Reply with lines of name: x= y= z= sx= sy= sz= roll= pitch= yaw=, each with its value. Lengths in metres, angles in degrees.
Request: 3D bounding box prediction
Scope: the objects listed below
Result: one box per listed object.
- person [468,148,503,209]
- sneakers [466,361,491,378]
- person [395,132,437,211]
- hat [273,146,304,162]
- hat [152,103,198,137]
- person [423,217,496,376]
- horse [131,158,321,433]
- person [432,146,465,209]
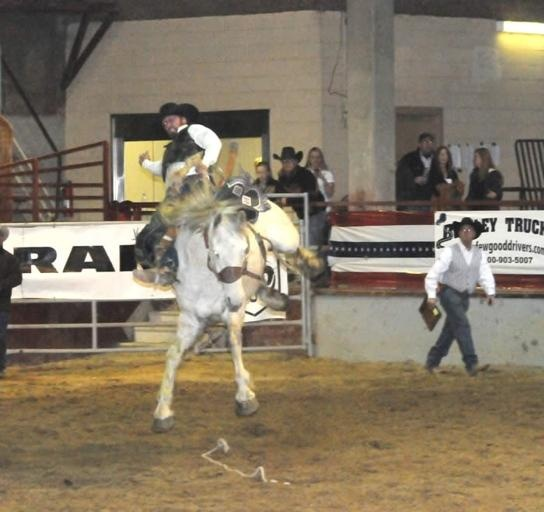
person: x=3.347 y=-1.202 z=22.261 sx=0.551 sy=0.974 sz=1.429 roll=0 pitch=3 yaw=8
sneakers: x=2.976 y=1.595 z=20.260 sx=0.144 sy=0.197 sz=0.413 roll=-50 pitch=9 yaw=-24
person: x=2.352 y=-1.438 z=23.244 sx=0.508 sy=1.073 sz=1.459 roll=-1 pitch=3 yaw=-13
hat: x=0.297 y=-1.735 z=24.319 sx=0.488 sy=0.226 sz=0.577 roll=-1 pitch=-6 yaw=7
hat: x=-1.268 y=-1.888 z=18.807 sx=0.438 sy=0.346 sz=0.443 roll=-28 pitch=-13 yaw=6
person: x=2.734 y=0.571 z=20.655 sx=0.987 sy=2.242 sz=0.944 roll=0 pitch=3 yaw=8
horse: x=-0.560 y=0.594 z=18.664 sx=1.546 sy=3.196 sz=1.758 roll=2 pitch=4 yaw=27
person: x=2.770 y=-1.225 z=22.325 sx=0.487 sy=0.984 sz=1.365 roll=0 pitch=3 yaw=7
